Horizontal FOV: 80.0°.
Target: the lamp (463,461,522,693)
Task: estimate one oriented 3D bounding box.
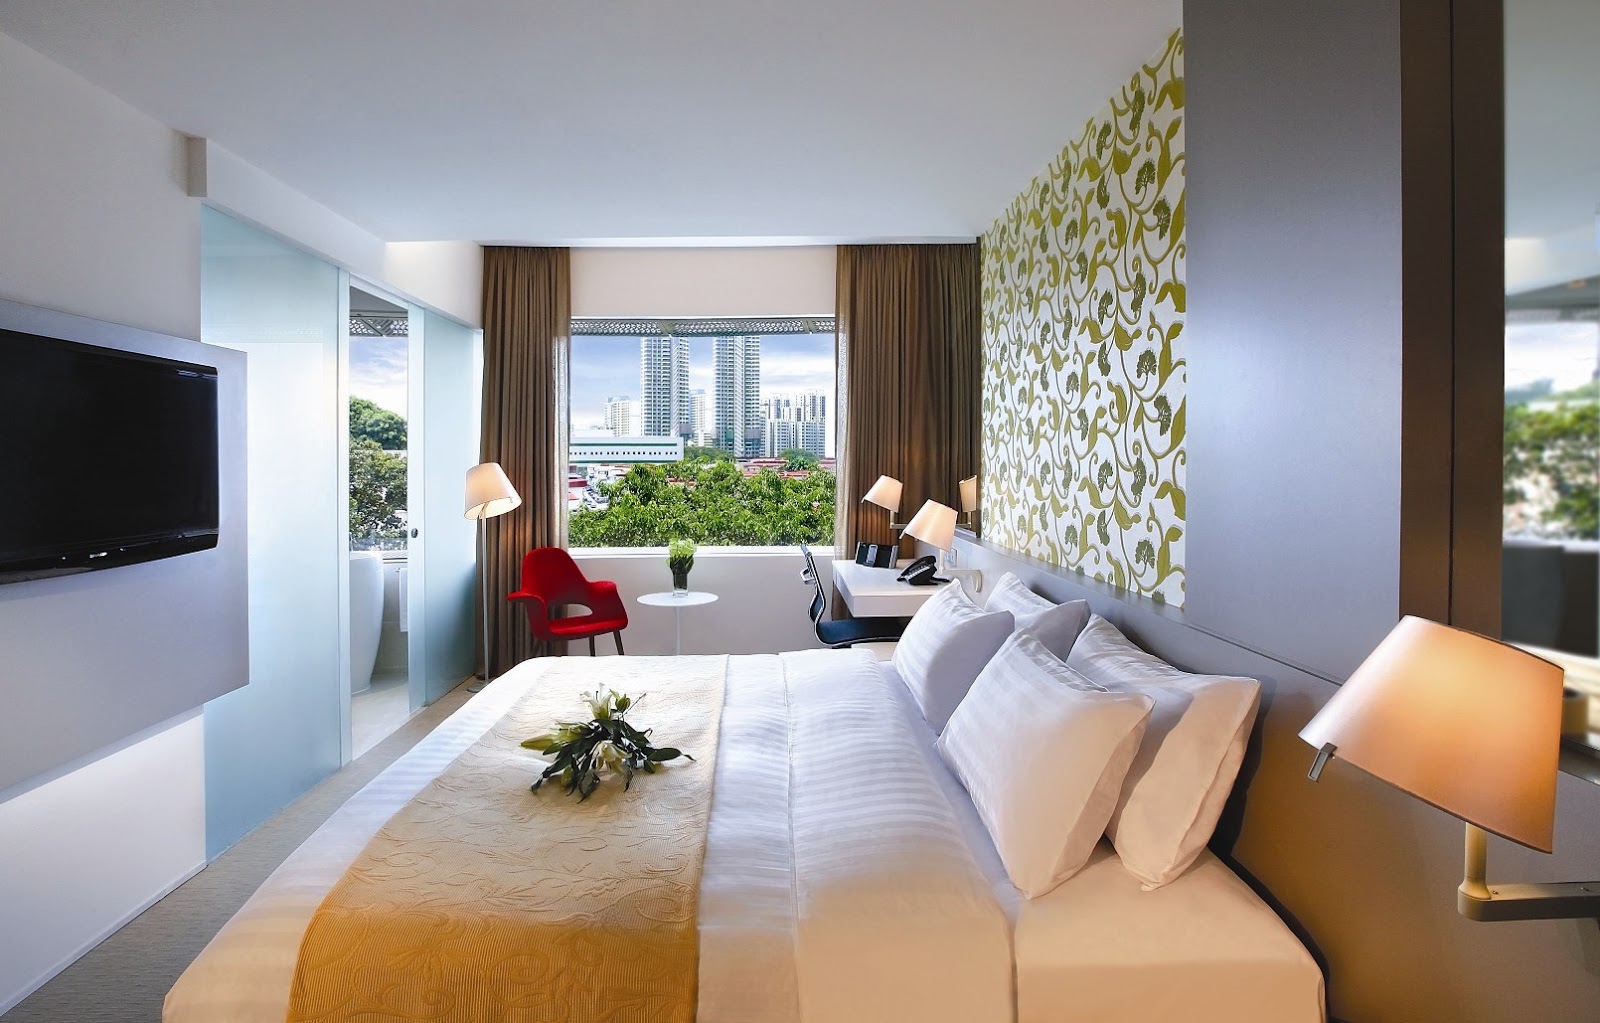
[{"bbox_3d":[-1.949,0.407,5.795,0.329,1.407,0.338,1,6,-31],"label":"lamp"}]

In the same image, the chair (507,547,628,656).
[{"bbox_3d":[-1.430,0.628,5.919,0.624,0.818,0.720,-1,2,37],"label":"chair"}]

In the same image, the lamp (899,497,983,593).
[{"bbox_3d":[0.791,0.187,5.381,0.277,0.473,0.468,6,8,-34],"label":"lamp"}]

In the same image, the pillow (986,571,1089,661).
[{"bbox_3d":[0.978,0.406,3.716,0.078,0.260,0.252,33,-52,-27],"label":"pillow"}]

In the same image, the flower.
[{"bbox_3d":[-0.698,0.755,3.395,0.500,0.272,0.500,0,-21,-14],"label":"flower"}]

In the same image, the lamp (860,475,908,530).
[{"bbox_3d":[0.529,-0.068,6.151,0.273,0.352,0.408,-2,3,5],"label":"lamp"}]

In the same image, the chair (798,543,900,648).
[{"bbox_3d":[0.303,0.481,5.605,0.233,0.412,0.618,-3,9,-6],"label":"chair"}]

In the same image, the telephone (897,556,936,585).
[{"bbox_3d":[0.634,0.324,5.211,0.180,0.064,0.137,-8,9,13],"label":"telephone"}]

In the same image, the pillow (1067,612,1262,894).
[{"bbox_3d":[1.128,0.743,3.374,0.529,0.504,1.200,-16,6,-5],"label":"pillow"}]

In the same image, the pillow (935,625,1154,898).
[{"bbox_3d":[0.759,0.753,3.212,0.427,0.541,0.892,-3,11,-12],"label":"pillow"}]
